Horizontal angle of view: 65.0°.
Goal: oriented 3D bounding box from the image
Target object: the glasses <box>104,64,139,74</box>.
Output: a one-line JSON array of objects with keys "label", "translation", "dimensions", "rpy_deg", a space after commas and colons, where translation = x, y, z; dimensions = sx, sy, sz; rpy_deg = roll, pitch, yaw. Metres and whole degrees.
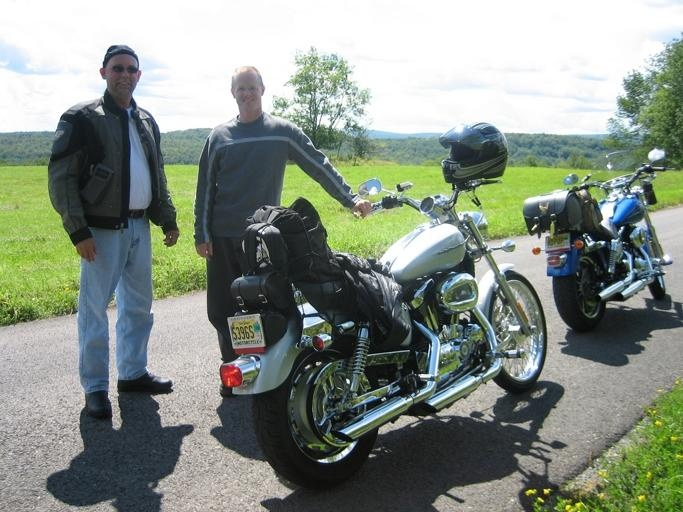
[{"label": "glasses", "translation": [-1.946, -1.711, 4.902], "dimensions": [0.095, 0.081, 0.268], "rpy_deg": [10, 18, 38]}]

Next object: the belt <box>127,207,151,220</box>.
[{"label": "belt", "translation": [-1.906, -0.409, 5.043], "dimensions": [0.126, 0.066, 0.169], "rpy_deg": [-1, 1, 26]}]

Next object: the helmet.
[{"label": "helmet", "translation": [1.251, -0.994, 4.983], "dimensions": [0.642, 0.562, 0.477], "rpy_deg": [-10, 14, -15]}]

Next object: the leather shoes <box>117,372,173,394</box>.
[{"label": "leather shoes", "translation": [-1.863, 1.233, 5.195], "dimensions": [0.520, 0.218, 0.210], "rpy_deg": [0, 1, -8]}]

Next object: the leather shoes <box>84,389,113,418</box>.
[{"label": "leather shoes", "translation": [-2.163, 1.298, 4.752], "dimensions": [0.207, 0.186, 0.352], "rpy_deg": [-9, 16, -29]}]
